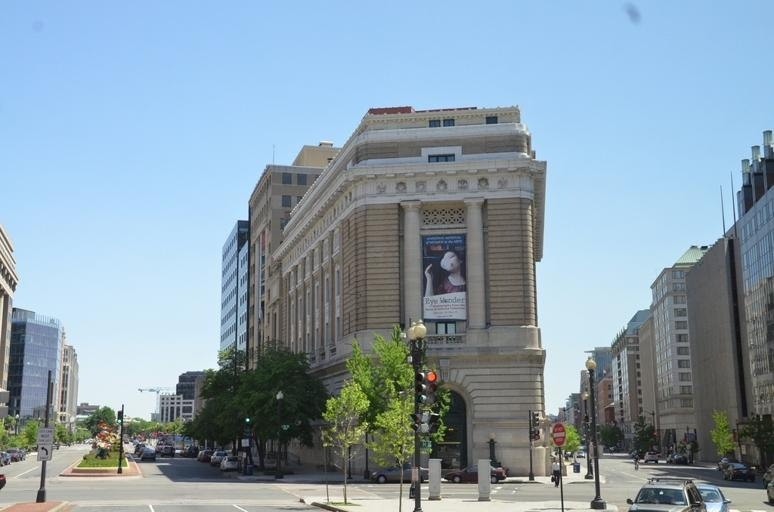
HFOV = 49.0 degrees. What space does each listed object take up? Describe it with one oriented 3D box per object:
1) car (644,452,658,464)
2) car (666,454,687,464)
[{"bbox_3d":[46.862,36.141,150.734,2.257,2.083,4.379,-1,-6,7],"label":"car"},{"bbox_3d":[48.174,33.982,141.561,1.267,1.029,2.928,1,-7,-2],"label":"car"}]
